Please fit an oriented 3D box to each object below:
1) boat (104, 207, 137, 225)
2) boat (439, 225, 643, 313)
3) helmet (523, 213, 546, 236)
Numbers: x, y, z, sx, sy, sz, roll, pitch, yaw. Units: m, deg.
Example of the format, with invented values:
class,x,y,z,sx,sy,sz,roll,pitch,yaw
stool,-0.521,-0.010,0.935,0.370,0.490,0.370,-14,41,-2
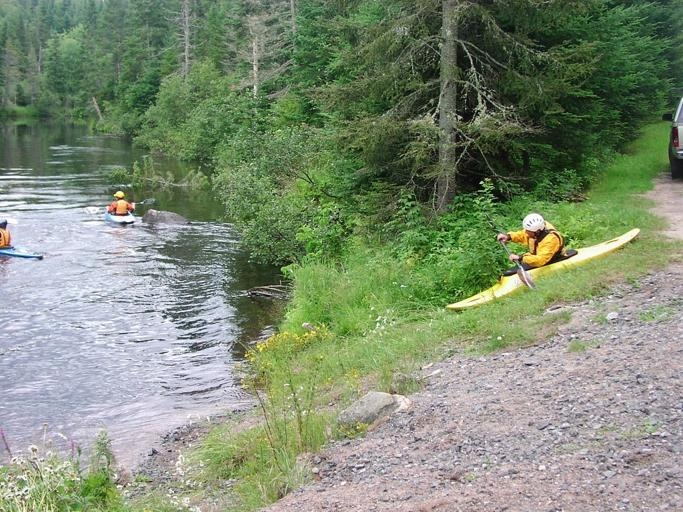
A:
class,x,y,z,sx,sy,sz,roll,pitch,yaw
boat,-8.707,-1.507,30.800,1.275,0.527,0.723,0,9,15
boat,4.312,0.319,17.092,3.103,0.425,0.488,-29,8,7
helmet,4.205,-0.717,17.232,0.383,0.465,0.456,9,6,21
